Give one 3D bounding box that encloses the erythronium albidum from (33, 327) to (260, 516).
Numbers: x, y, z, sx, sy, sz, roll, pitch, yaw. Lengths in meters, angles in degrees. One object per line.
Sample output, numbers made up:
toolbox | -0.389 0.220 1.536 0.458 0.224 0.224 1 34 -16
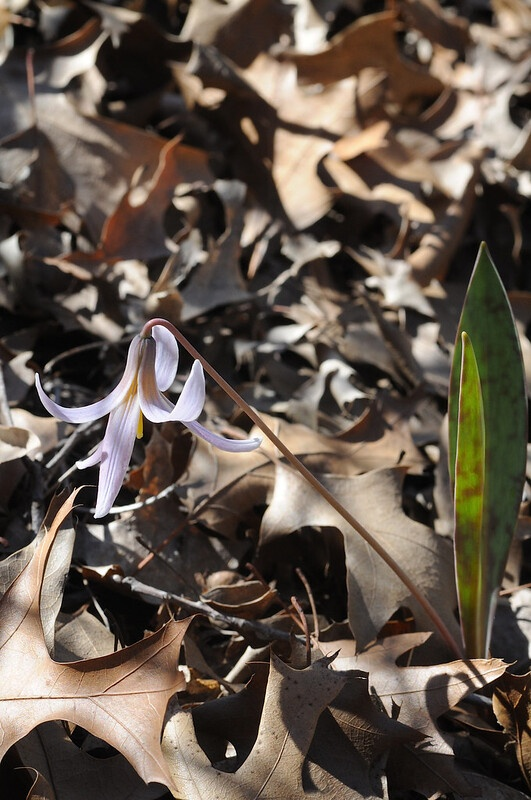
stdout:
erythronium albidum | -0.144 -0.001 1.065 0.232 0.180 0.284 6 9 16
